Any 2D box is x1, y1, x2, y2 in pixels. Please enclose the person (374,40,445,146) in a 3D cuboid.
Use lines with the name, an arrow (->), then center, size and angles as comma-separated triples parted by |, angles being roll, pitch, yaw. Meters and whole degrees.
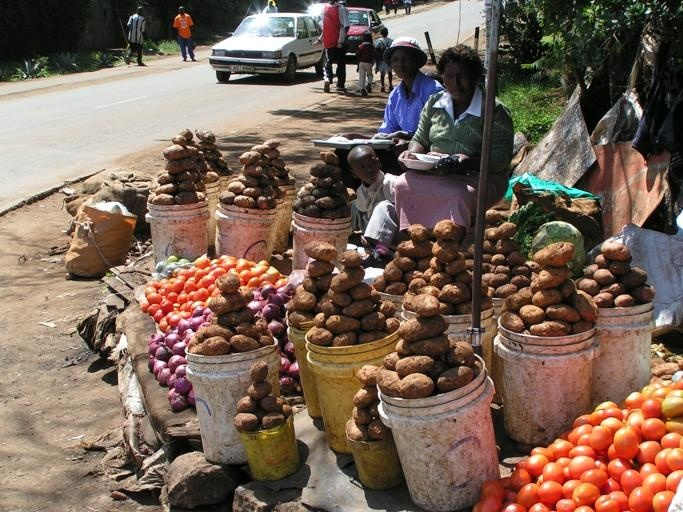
person -> 0.705, -1.709, 6.300 | 0.597, 1.226, 0.560 | -3, 13, -5

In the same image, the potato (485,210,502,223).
potato -> 1.100, -0.295, 4.405 | 0.101, 0.106, 0.137 | -3, -7, 6

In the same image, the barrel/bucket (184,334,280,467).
barrel/bucket -> -0.636, 0.942, 4.059 | 0.705, 0.782, 0.711 | -2, 1, 0

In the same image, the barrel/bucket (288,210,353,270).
barrel/bucket -> -0.190, -0.116, 5.643 | 0.572, 0.558, 0.470 | -9, 19, -29

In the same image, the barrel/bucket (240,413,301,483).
barrel/bucket -> -0.407, 1.161, 3.583 | 0.329, 0.377, 0.202 | -9, 19, -11

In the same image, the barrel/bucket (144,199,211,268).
barrel/bucket -> -1.685, -0.242, 6.240 | 0.597, 0.601, 0.605 | 0, 11, 0

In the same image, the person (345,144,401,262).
person -> 0.286, -0.477, 5.620 | 0.611, 1.074, 0.820 | -8, -4, -5

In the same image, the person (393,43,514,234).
person -> 0.923, -0.856, 5.028 | 0.760, 1.929, 0.783 | 3, 5, 32

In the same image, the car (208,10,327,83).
car -> -2.140, -6.607, 19.084 | 2.371, 1.844, 4.245 | 8, 23, 18
